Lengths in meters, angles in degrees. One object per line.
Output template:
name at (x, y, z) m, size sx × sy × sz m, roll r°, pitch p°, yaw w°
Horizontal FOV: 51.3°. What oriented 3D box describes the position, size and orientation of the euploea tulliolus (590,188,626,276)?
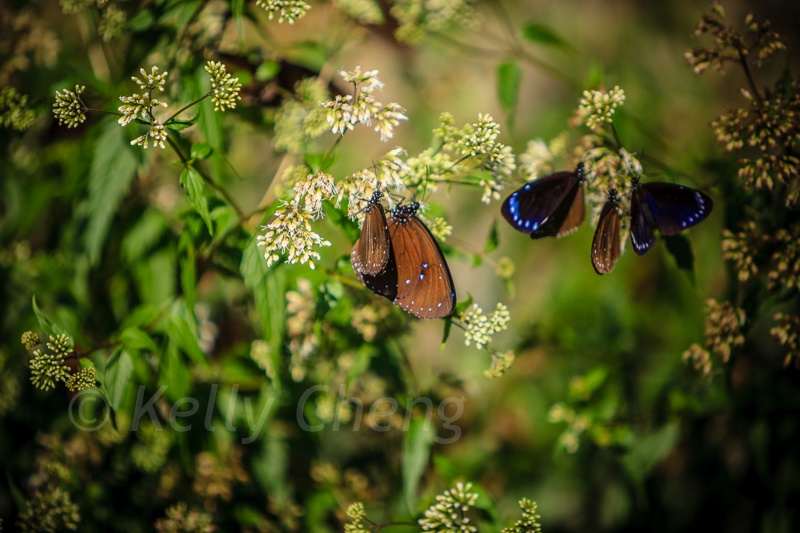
euploea tulliolus at (0.542, -0.100, 2.168) m, size 0.102 × 0.189 × 0.049 m, roll 4°, pitch -6°, yaw -42°
